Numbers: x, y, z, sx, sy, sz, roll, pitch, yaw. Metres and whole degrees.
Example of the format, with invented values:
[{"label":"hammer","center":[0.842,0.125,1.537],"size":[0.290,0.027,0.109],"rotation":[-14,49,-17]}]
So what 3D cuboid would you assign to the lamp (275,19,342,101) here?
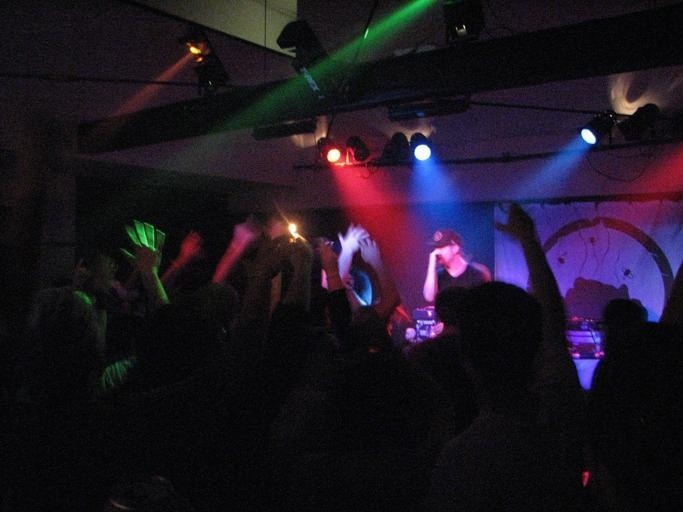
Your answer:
[{"label":"lamp","center":[-0.272,-1.286,3.534],"size":[0.384,0.379,0.422],"rotation":[1,-7,43]}]

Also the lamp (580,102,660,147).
[{"label":"lamp","center":[2.597,-1.223,4.931],"size":[0.809,0.354,0.339],"rotation":[-13,0,-14]}]

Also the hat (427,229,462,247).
[{"label":"hat","center":[1.200,-0.193,6.141],"size":[0.277,0.143,0.199],"rotation":[7,-3,-2]}]

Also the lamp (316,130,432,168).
[{"label":"lamp","center":[0.353,-1.153,5.759],"size":[1.261,0.358,0.369],"rotation":[4,-6,18]}]
